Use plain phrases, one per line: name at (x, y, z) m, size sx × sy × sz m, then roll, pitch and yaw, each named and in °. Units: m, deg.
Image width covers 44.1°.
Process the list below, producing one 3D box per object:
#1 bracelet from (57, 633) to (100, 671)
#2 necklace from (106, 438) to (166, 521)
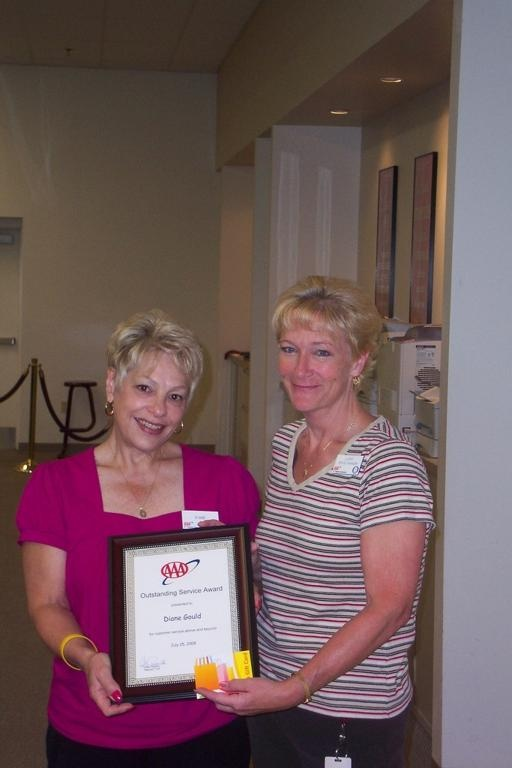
bracelet at (-0.306, 0.461, 1.082) m, size 0.051 × 0.058 × 0.080 m, roll -2°, pitch 3°, yaw -26°
necklace at (-0.245, 0.186, 1.287) m, size 0.118 × 0.166 × 0.063 m, roll -1°, pitch -3°, yaw -17°
